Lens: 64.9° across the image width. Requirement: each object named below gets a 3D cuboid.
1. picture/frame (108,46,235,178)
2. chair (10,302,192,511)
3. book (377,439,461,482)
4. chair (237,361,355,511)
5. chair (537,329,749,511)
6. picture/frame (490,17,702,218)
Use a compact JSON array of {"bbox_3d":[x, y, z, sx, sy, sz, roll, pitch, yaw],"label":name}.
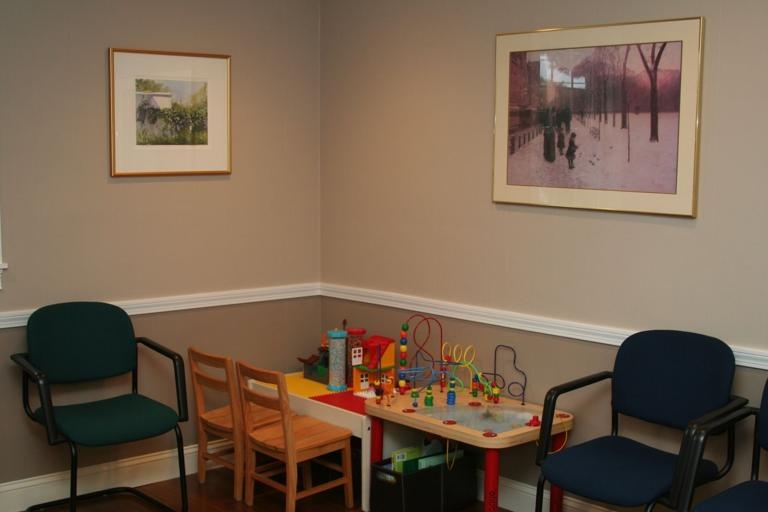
[{"bbox_3d":[-1.447,-0.962,3.985,0.836,0.926,0.031,-2,5,-33],"label":"picture/frame"},{"bbox_3d":[-1.802,0.938,3.735,0.986,1.524,0.919,-4,9,-39],"label":"chair"},{"bbox_3d":[0.220,1.178,3.635,0.318,0.134,0.233,1,-3,-43],"label":"book"},{"bbox_3d":[-0.553,1.161,3.793,0.646,1.185,0.619,-9,13,-40],"label":"chair"},{"bbox_3d":[1.365,0.846,3.096,0.851,1.206,0.808,-9,11,-42],"label":"chair"},{"bbox_3d":[1.215,-0.776,3.344,1.087,1.011,0.043,3,4,34],"label":"picture/frame"}]
